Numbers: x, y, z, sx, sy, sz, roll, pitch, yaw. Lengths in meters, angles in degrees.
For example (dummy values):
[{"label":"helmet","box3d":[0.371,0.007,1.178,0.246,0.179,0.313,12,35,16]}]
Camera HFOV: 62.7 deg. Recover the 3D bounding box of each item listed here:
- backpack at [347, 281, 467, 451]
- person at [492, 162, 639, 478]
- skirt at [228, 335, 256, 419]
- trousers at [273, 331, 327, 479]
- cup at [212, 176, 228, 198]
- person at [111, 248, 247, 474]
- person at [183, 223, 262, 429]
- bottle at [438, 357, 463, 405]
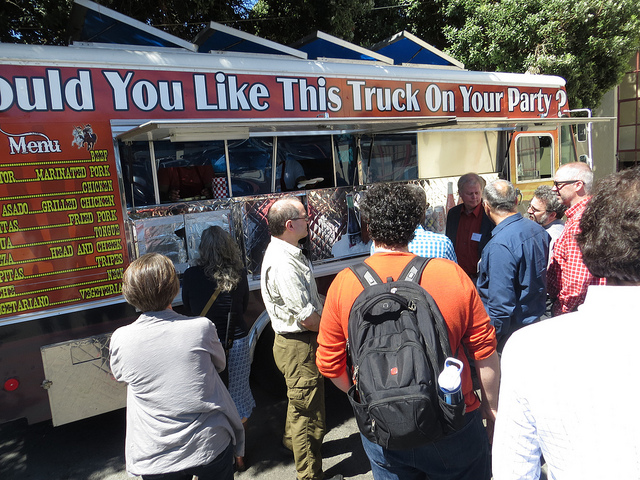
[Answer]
[{"label":"backpack","box3d":[0.423,0.628,2.759,0.594,0.858,0.486,-8,11,18]},{"label":"person","box3d":[1.044,0.386,2.240,0.642,1.303,0.424,-3,7,19]},{"label":"skirt","box3d":[-0.629,1.099,4.223,0.113,0.671,0.322,-2,7,24]},{"label":"trousers","box3d":[-0.141,1.239,3.990,0.381,1.159,0.358,-4,7,13]},{"label":"cup","box3d":[-1.124,-0.592,5.871,0.215,0.267,0.217,0,9,0]},{"label":"person","box3d":[-0.833,0.765,3.043,0.687,1.364,0.317,-8,7,-19]},{"label":"person","box3d":[-0.817,0.798,4.336,0.524,1.865,0.527,-5,20,-21]},{"label":"bottle","box3d":[0.664,0.668,2.590,0.122,0.227,0.222,-1,50,17]}]
